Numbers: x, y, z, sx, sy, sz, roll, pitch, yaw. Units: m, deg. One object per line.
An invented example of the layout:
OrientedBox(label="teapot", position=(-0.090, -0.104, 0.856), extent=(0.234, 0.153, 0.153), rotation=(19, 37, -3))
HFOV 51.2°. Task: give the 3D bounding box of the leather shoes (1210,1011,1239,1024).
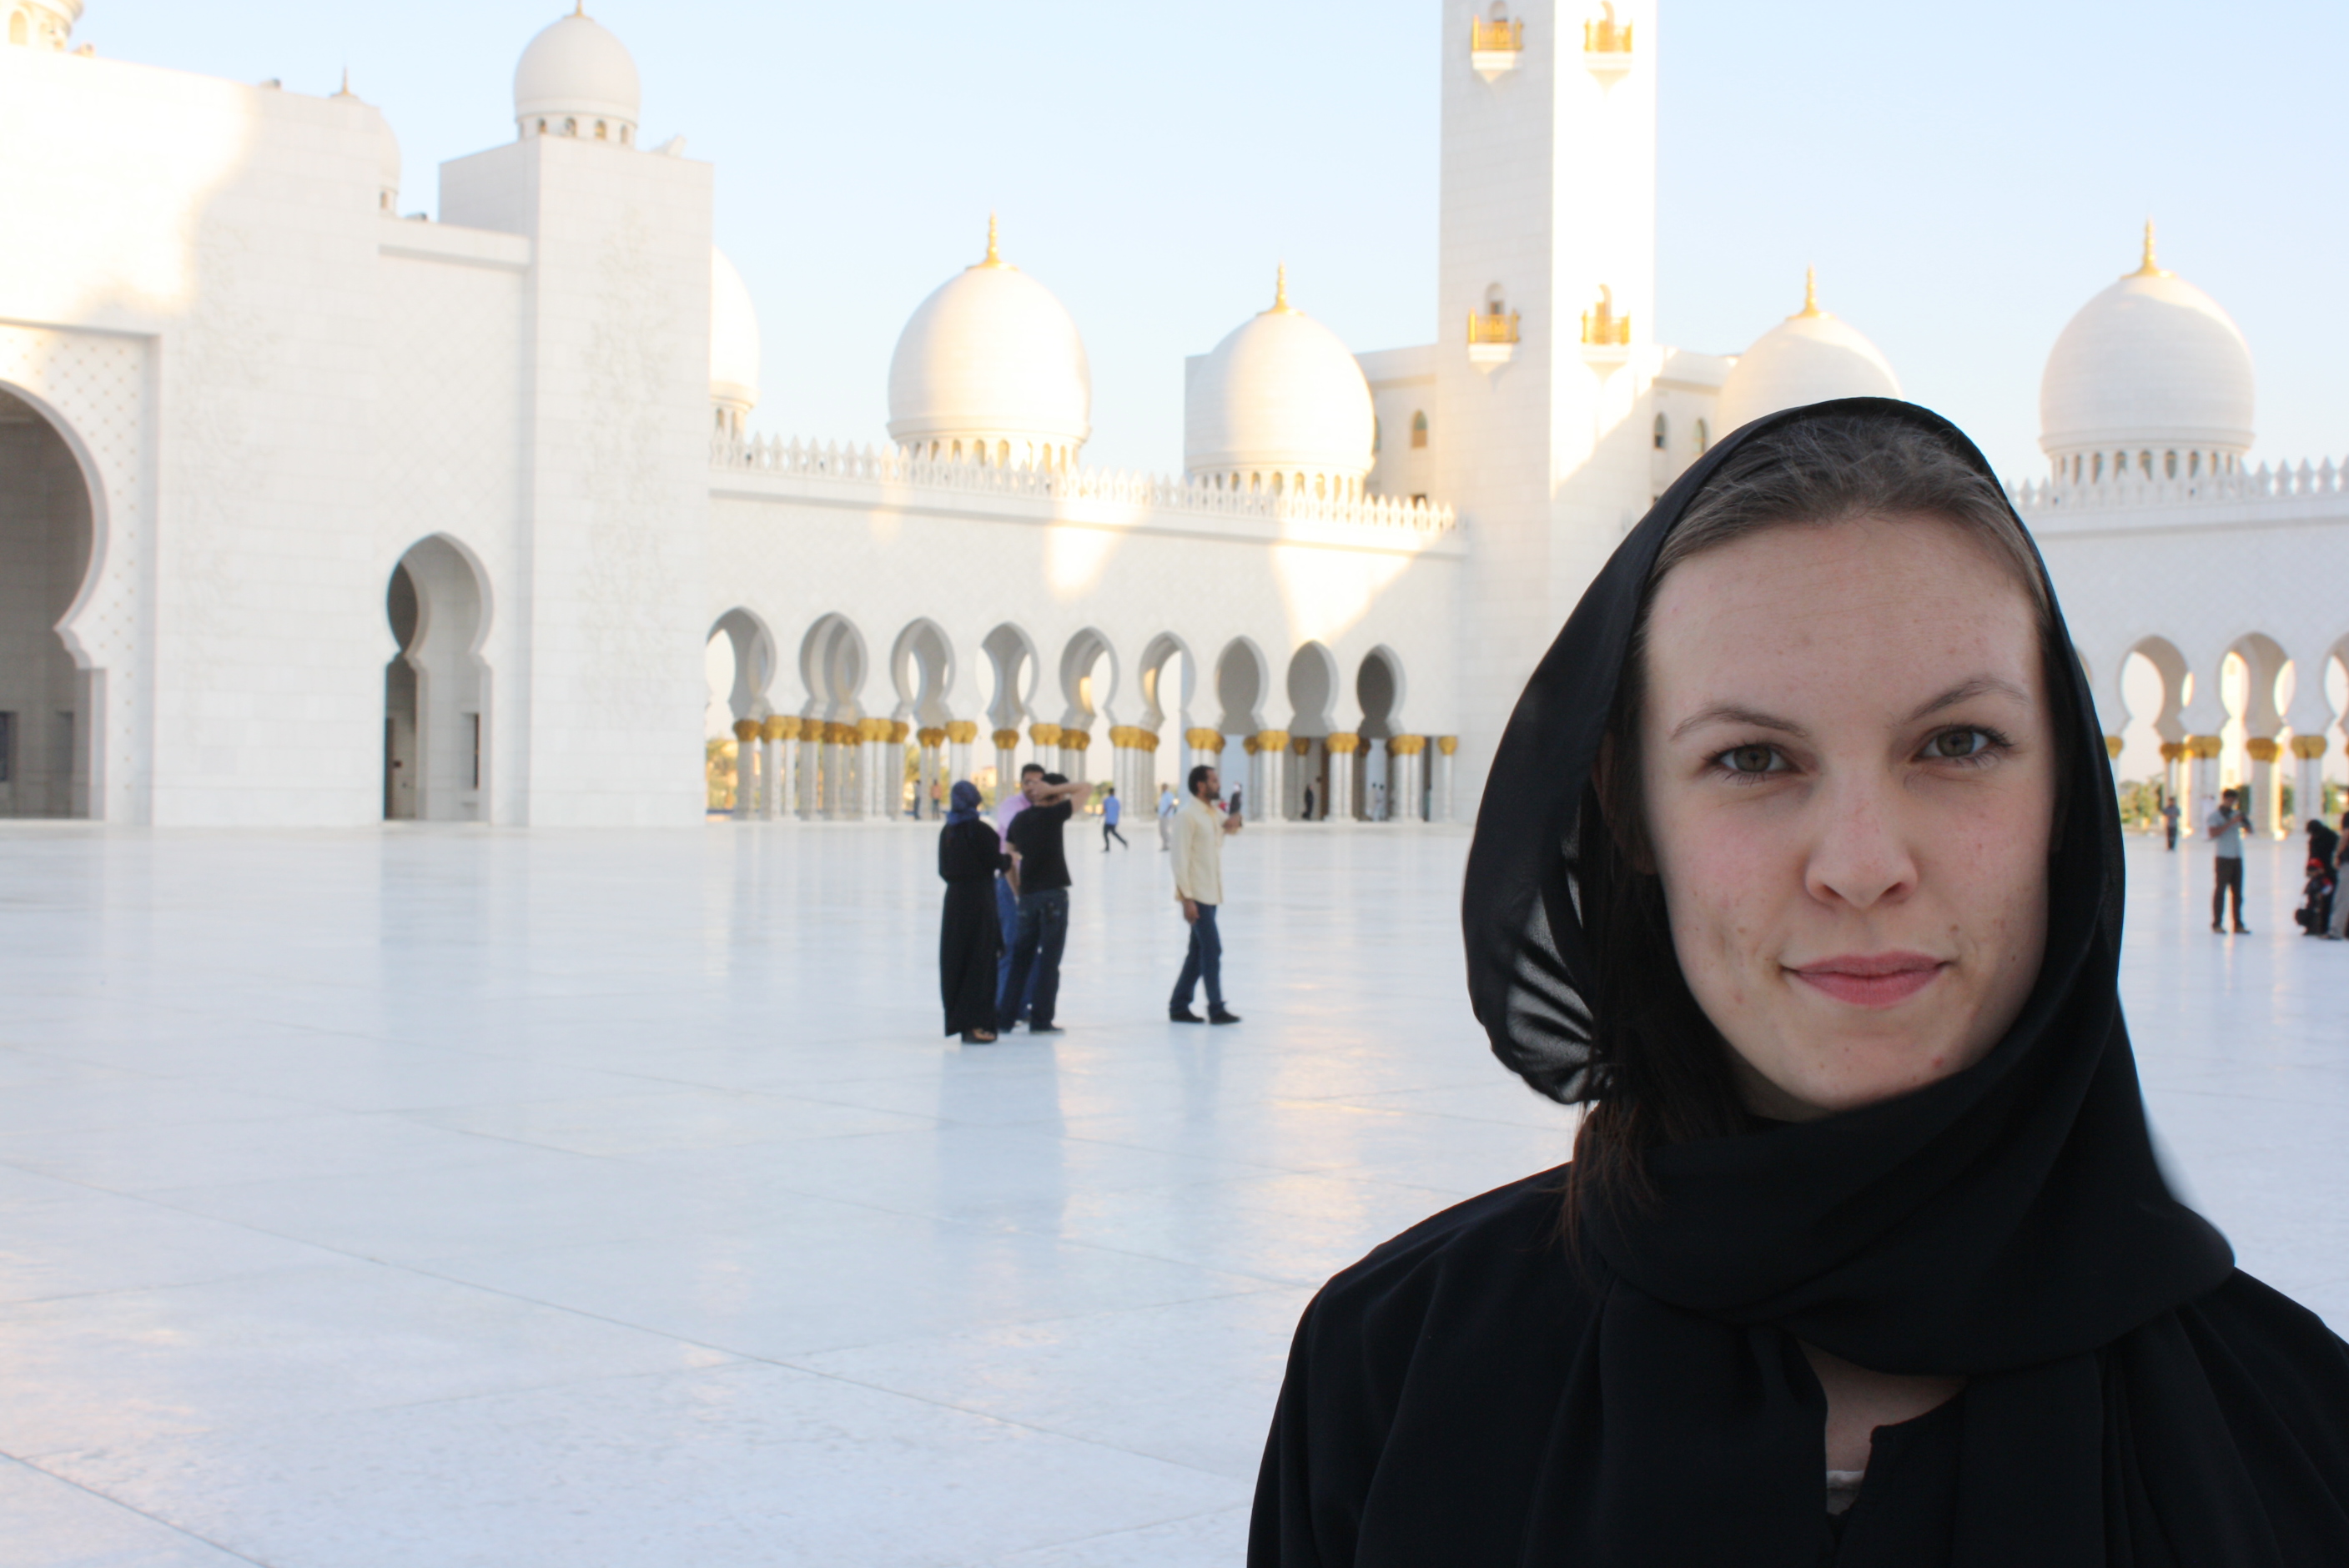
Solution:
OrientedBox(label="leather shoes", position=(0.195, 0.876, 9.186), extent=(0.109, 0.042, 0.192), rotation=(0, -2, -2))
